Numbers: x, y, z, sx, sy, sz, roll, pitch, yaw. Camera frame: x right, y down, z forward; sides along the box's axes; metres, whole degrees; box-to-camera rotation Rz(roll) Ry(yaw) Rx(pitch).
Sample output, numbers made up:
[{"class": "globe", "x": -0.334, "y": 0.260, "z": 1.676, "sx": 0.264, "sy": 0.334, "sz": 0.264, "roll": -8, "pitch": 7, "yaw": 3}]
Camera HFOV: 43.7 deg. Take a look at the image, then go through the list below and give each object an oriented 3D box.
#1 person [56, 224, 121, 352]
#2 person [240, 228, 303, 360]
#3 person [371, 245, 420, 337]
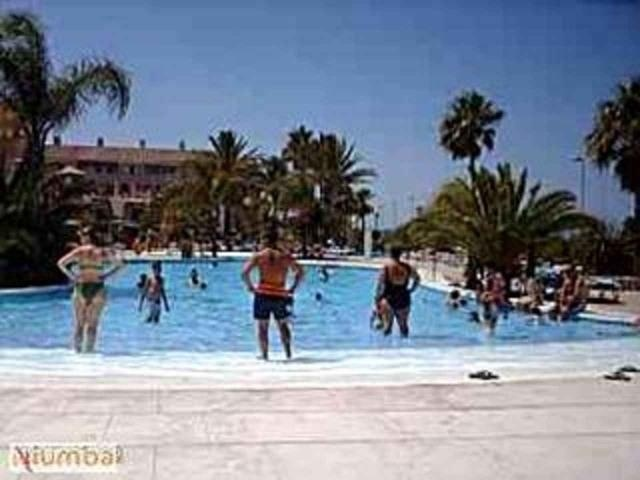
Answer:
[{"class": "person", "x": -3.786, "y": 0.824, "z": 13.156, "sx": 0.879, "sy": 2.107, "sz": 1.112, "roll": -1, "pitch": 1, "yaw": -36}, {"class": "person", "x": -0.765, "y": 0.847, "z": 12.893, "sx": 0.926, "sy": 2.298, "sz": 0.647, "roll": 2, "pitch": 20, "yaw": 0}, {"class": "person", "x": 1.386, "y": 0.924, "z": 14.357, "sx": 0.771, "sy": 1.687, "sz": 1.090, "roll": 0, "pitch": 1, "yaw": 16}]
